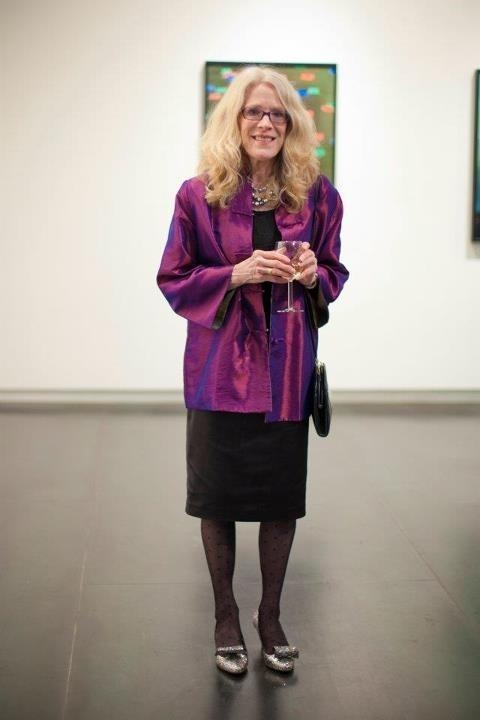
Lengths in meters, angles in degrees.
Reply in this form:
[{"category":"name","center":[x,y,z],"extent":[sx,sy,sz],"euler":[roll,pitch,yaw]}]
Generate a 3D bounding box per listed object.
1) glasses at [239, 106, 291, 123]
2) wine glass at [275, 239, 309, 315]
[{"category":"glasses","center":[0.066,-0.617,1.749],"extent":[0.123,0.042,0.036],"euler":[-2,9,-14]},{"category":"wine glass","center":[0.123,-0.209,1.751],"extent":[0.063,0.187,0.171],"euler":[1,9,3]}]
